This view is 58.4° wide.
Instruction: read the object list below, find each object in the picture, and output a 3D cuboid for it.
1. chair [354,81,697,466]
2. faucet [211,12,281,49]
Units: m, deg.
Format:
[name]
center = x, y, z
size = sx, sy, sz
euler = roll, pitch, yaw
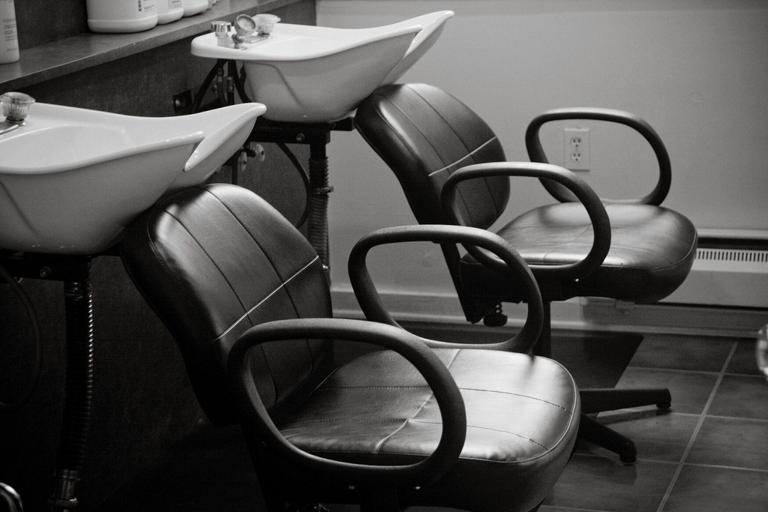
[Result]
[chair]
center = 0.444, -0.105, 2.744
size = 1.254, 1.340, 1.217
euler = 3, 22, 17
[faucet]
center = -0.462, -0.756, 2.299
size = 0.147, 0.079, 0.206
euler = 29, 43, 31
